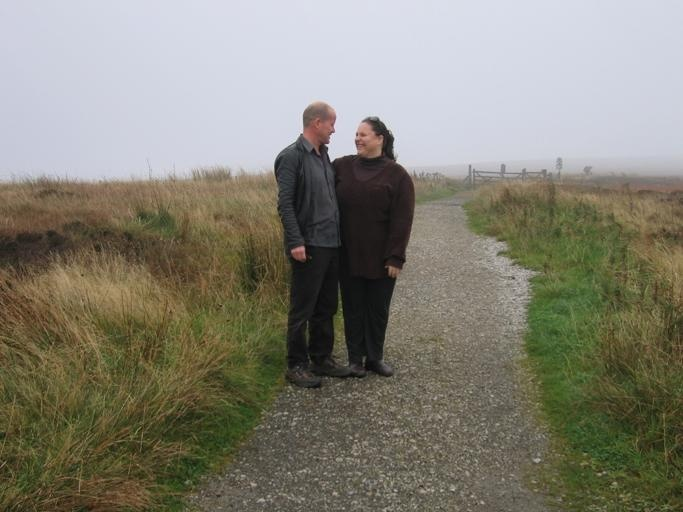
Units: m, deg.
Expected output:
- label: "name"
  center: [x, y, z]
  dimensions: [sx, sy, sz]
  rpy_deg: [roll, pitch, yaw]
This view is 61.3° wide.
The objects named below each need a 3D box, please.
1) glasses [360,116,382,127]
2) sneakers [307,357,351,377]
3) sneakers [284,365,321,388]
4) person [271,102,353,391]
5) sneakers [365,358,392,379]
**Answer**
- label: "glasses"
  center: [0.325, -1.380, 5.964]
  dimensions: [0.191, 0.079, 0.076]
  rpy_deg: [-7, 11, -24]
- label: "sneakers"
  center: [-0.132, 1.173, 6.198]
  dimensions: [0.454, 0.243, 0.182]
  rpy_deg: [0, 2, 3]
- label: "sneakers"
  center: [-0.390, 1.240, 5.945]
  dimensions: [0.331, 0.159, 0.180]
  rpy_deg: [3, 7, 30]
- label: "person"
  center: [-0.295, -0.102, 5.880]
  dimensions: [0.689, 2.834, 0.474]
  rpy_deg: [-4, 9, -12]
- label: "sneakers"
  center: [0.400, 1.201, 6.146]
  dimensions: [0.328, 0.153, 0.122]
  rpy_deg: [4, 6, 42]
